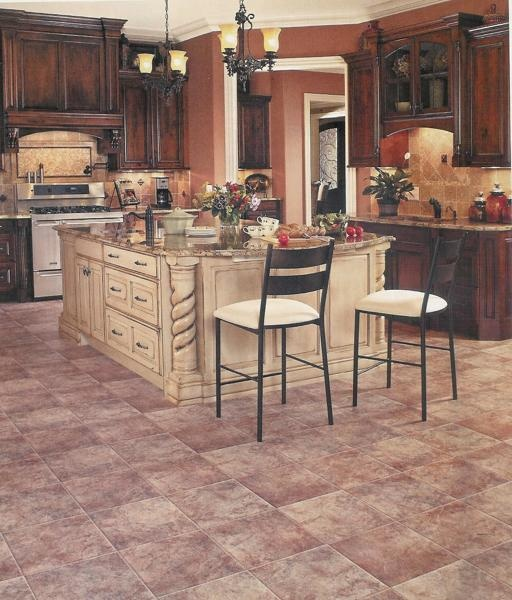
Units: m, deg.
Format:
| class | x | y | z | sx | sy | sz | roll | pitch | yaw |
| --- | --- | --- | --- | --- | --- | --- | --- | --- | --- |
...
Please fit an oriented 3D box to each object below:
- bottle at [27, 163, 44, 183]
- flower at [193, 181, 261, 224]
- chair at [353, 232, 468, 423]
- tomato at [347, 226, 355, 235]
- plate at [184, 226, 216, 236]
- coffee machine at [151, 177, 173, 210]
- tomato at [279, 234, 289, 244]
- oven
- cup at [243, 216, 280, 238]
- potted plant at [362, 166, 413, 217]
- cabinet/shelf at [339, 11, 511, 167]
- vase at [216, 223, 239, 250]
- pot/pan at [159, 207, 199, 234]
| class | x | y | z | sx | sy | sz | roll | pitch | yaw |
| --- | --- | --- | --- | --- | --- | --- | --- | --- | --- |
| bottle | -2.643 | -1.516 | 6.844 | 0.231 | 0.295 | 0.228 | 2 | 4 | 0 |
| flower | -0.192 | -0.664 | 3.885 | 0.392 | 0.287 | 0.364 | -1 | 7 | -5 |
| chair | 0.876 | 0.116 | 3.212 | 0.549 | 0.931 | 0.497 | 3 | 8 | 31 |
| tomato | 0.620 | -0.460 | 3.714 | 0.058 | 0.064 | 0.055 | -1 | -8 | -1 |
| plate | -0.369 | -0.464 | 3.840 | 0.206 | 0.068 | 0.228 | -1 | 7 | -6 |
| coffee machine | -1.218 | -1.407 | 7.435 | 0.218 | 0.421 | 0.368 | -2 | 7 | -8 |
| tomato | 0.151 | -0.349 | 3.234 | 0.059 | 0.054 | 0.057 | 4 | 12 | 18 |
| oven | -1.896 | -0.502 | 6.670 | 1.192 | 1.039 | 0.896 | -2 | 6 | 27 |
| cup | 0.008 | -0.473 | 3.689 | 0.144 | 0.086 | 0.202 | -1 | 1 | -32 |
| potted plant | 1.341 | -1.085 | 5.801 | 0.555 | 0.398 | 0.539 | 1 | 3 | 5 |
| cabinet/shelf | 1.525 | -1.888 | 5.090 | 0.422 | 1.497 | 1.850 | -4 | 8 | -25 |
| vase | -0.179 | -0.411 | 3.654 | 0.123 | 0.063 | 0.281 | -6 | 22 | -15 |
| pot/pan | -0.555 | -0.537 | 3.987 | 0.252 | 0.163 | 0.241 | 0 | 2 | 2 |
